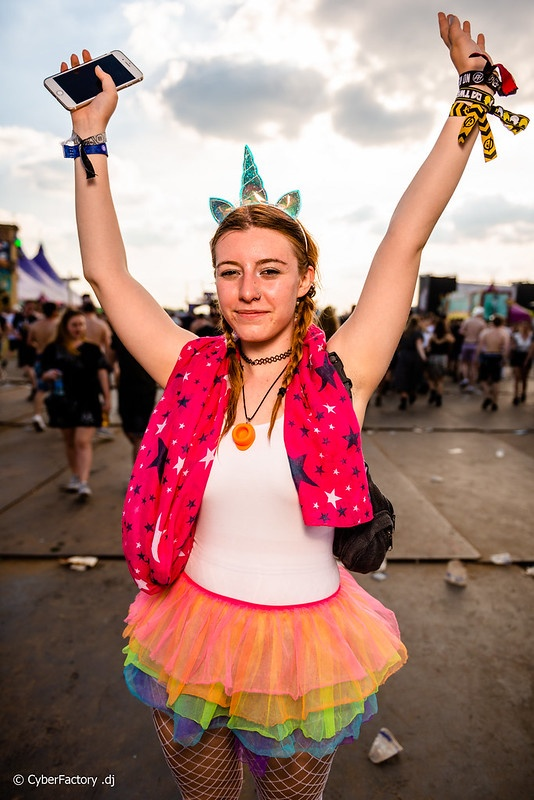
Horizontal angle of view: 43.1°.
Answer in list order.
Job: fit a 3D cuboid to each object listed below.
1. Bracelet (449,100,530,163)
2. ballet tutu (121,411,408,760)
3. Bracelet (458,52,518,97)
[{"bbox_3d":[0.532,-0.652,1.647,0.199,0.138,0.071,-5,14,-26],"label":"Bracelet"},{"bbox_3d":[-0.026,0.433,1.685,0.742,0.776,0.411,4,13,12],"label":"ballet tutu"},{"bbox_3d":[0.535,-0.785,1.637,0.134,0.104,0.060,3,13,8],"label":"Bracelet"}]
